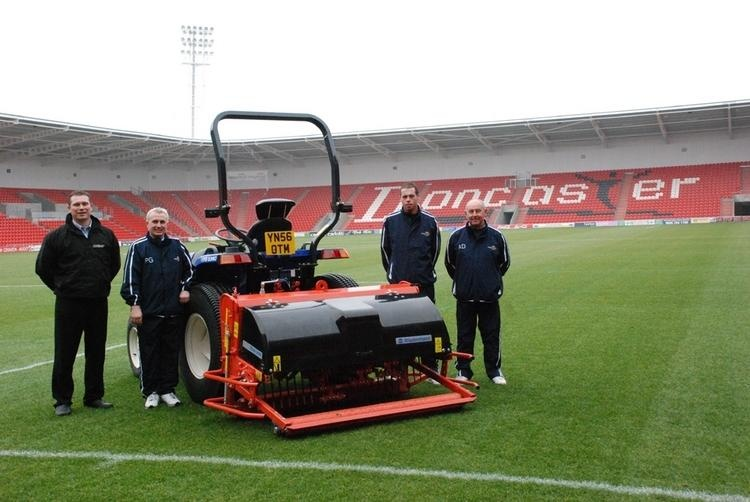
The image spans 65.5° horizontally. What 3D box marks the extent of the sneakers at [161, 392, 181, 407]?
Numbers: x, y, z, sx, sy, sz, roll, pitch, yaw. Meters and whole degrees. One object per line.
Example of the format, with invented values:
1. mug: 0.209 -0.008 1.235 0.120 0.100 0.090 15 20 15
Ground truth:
1. sneakers: -2.012 1.452 5.699 0.096 0.074 0.192 4 -5 -39

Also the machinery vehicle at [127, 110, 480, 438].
1. machinery vehicle: -1.168 0.166 6.662 2.358 2.598 4.695 -4 3 -29

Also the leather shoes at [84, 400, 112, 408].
1. leather shoes: -2.702 1.486 5.649 0.254 0.074 0.092 -3 1 14

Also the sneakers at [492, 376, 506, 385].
1. sneakers: 1.284 1.321 5.990 0.150 0.058 0.138 -3 9 -8

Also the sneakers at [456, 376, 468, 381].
1. sneakers: 0.863 1.273 5.823 0.071 0.077 0.191 1 -11 -3

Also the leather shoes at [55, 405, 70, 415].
1. leather shoes: -2.967 1.497 5.501 0.136 0.083 0.138 -5 10 -23

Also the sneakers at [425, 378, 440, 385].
1. sneakers: 0.586 1.344 6.035 0.070 0.085 0.221 1 -9 -6
